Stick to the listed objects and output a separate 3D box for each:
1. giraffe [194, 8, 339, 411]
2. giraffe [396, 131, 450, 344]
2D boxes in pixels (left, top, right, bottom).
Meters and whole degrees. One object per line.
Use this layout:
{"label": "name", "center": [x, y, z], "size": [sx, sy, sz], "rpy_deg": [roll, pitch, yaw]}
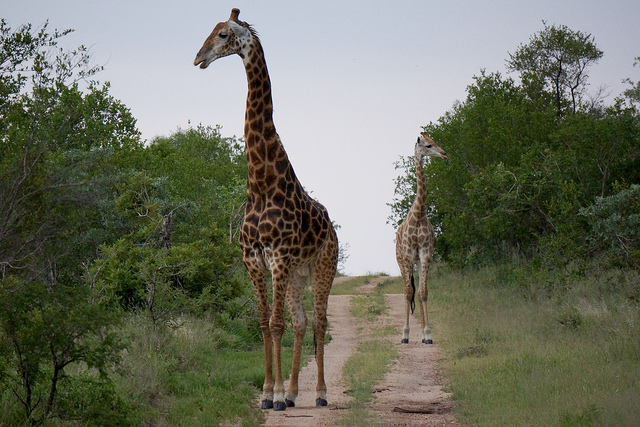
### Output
{"label": "giraffe", "center": [-0.993, -0.156, 16.008], "size": [2.179, 8.759, 1.167], "rpy_deg": [-7, 6, -11]}
{"label": "giraffe", "center": [3.127, 0.648, 23.023], "size": [1.619, 6.462, 3.625], "rpy_deg": [-5, 7, 10]}
